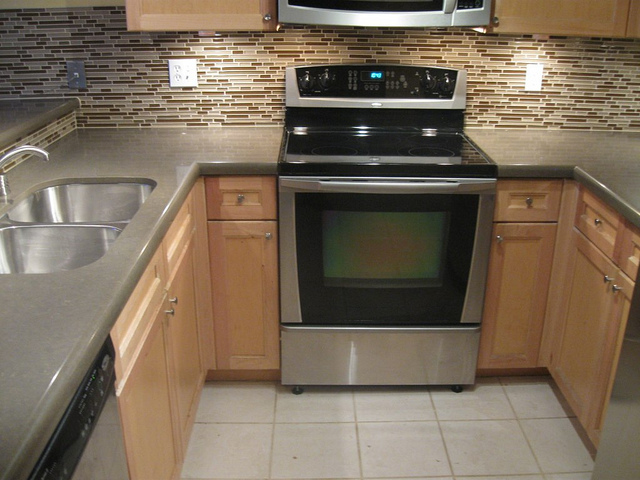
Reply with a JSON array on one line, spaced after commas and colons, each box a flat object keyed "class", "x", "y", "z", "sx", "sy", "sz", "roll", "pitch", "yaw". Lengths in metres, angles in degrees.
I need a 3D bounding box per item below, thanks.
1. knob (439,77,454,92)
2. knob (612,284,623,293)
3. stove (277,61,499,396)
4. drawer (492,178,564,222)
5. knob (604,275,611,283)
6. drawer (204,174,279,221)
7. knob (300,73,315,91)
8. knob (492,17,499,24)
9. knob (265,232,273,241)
[{"class": "knob", "x": 0.607, "y": -0.740, "z": 2.370, "sx": 0.061, "sy": 0.059, "sz": 0.018, "roll": -2, "pitch": 11, "yaw": -1}, {"class": "knob", "x": 1.063, "y": 0.176, "z": 1.779, "sx": 0.021, "sy": 0.024, "sz": 0.022, "roll": 5, "pitch": 14, "yaw": 29}, {"class": "stove", "x": 0.277, "y": -0.055, "z": 2.358, "sx": 0.945, "sy": 1.523, "sz": 0.612, "roll": -2, "pitch": 18, "yaw": -2}, {"class": "drawer", "x": 0.884, "y": -0.173, "z": 2.190, "sx": 0.275, "sy": 0.249, "sz": 0.187, "roll": -1, "pitch": 25, "yaw": 1}, {"class": "knob", "x": 1.062, "y": 0.144, "z": 1.838, "sx": 0.020, "sy": 0.022, "sz": 0.016, "roll": -7, "pitch": 15, "yaw": 4}, {"class": "drawer", "x": -0.372, "y": -0.168, "z": 2.164, "sx": 0.339, "sy": 0.201, "sz": 0.177, "roll": -2, "pitch": 6, "yaw": -25}, {"class": "knob", "x": -0.060, "y": -0.746, "z": 2.352, "sx": 0.062, "sy": 0.072, "sz": 0.024, "roll": -1, "pitch": 17, "yaw": 4}, {"class": "knob", "x": 0.750, "y": -0.936, "z": 2.117, "sx": 0.023, "sy": 0.028, "sz": 0.008, "roll": 1, "pitch": 4, "yaw": 9}, {"class": "knob", "x": -0.216, "y": -0.014, "z": 2.127, "sx": 0.025, "sy": 0.031, "sz": 0.032, "roll": 5, "pitch": -2, "yaw": 3}]
